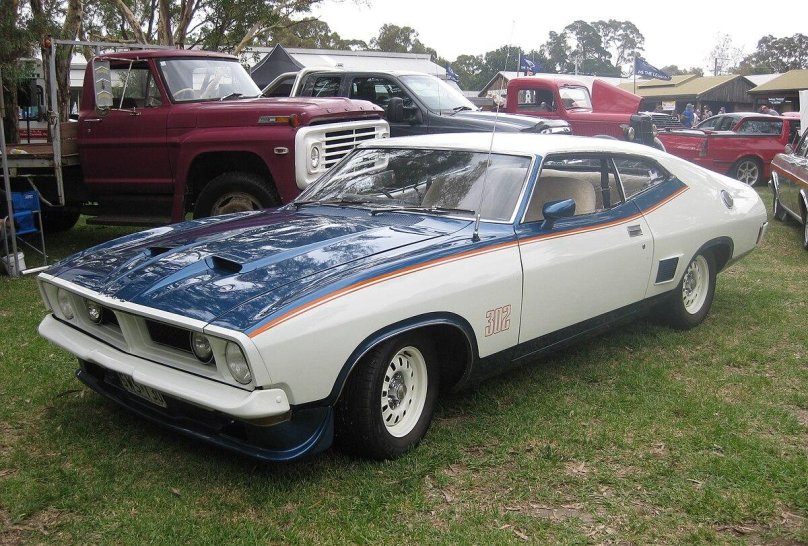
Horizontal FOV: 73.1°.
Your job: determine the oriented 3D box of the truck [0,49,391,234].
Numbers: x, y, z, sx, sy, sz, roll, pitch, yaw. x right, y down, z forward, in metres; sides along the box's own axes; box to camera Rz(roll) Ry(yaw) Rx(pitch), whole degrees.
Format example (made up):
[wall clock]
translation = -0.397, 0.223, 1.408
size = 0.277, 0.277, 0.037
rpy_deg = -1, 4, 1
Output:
[truck]
translation = -2.911, -1.932, 8.155
size = 4.472, 2.145, 2.950
rpy_deg = 1, 15, 17
